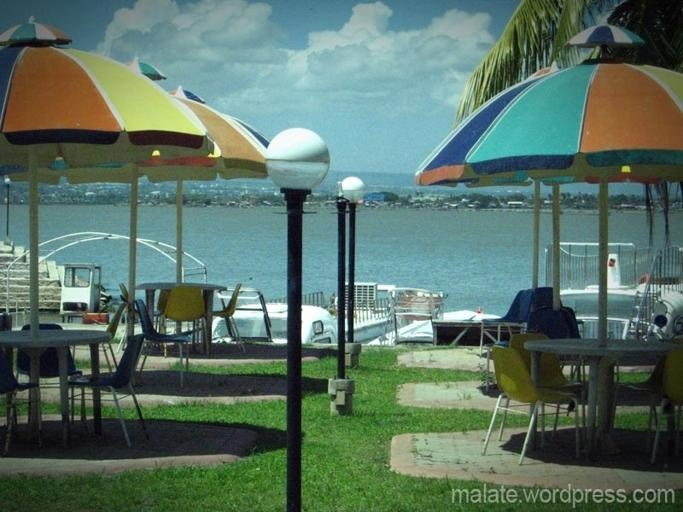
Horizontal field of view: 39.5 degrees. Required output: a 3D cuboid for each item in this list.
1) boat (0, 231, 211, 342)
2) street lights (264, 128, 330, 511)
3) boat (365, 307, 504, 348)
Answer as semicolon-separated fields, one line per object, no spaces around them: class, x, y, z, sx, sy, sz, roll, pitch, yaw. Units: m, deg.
boat;-8.986;0.919;36.734;4.873;2.175;7.040;1;2;5
street lights;-0.415;0.600;9.079;0.613;3.678;0.311;0;-2;-1
boat;2.619;2.235;28.371;1.714;1.077;6.389;1;5;31
